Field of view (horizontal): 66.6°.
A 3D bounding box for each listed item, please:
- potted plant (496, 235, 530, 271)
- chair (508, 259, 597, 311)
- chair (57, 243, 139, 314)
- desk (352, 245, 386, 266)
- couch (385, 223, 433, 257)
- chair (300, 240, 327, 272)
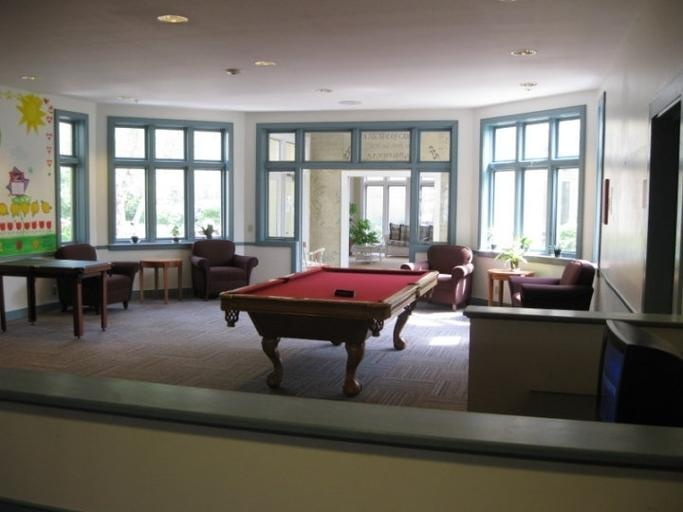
[{"bbox_3d":[2.911,-0.059,8.777,0.613,0.493,0.601,-1,10,7],"label":"potted plant"},{"bbox_3d":[2.841,0.422,7.035,0.885,0.842,0.761,2,2,12],"label":"chair"},{"bbox_3d":[-4.055,0.295,8.725,1.266,1.220,1.172,1,3,18],"label":"chair"},{"bbox_3d":[0.904,0.186,16.931,1.192,0.803,0.676,0,2,-2],"label":"desk"},{"bbox_3d":[2.177,-0.591,17.248,1.887,1.441,1.017,1,0,20],"label":"couch"},{"bbox_3d":[-0.643,-0.004,11.904,0.785,0.516,1.343,1,1,4],"label":"chair"}]
